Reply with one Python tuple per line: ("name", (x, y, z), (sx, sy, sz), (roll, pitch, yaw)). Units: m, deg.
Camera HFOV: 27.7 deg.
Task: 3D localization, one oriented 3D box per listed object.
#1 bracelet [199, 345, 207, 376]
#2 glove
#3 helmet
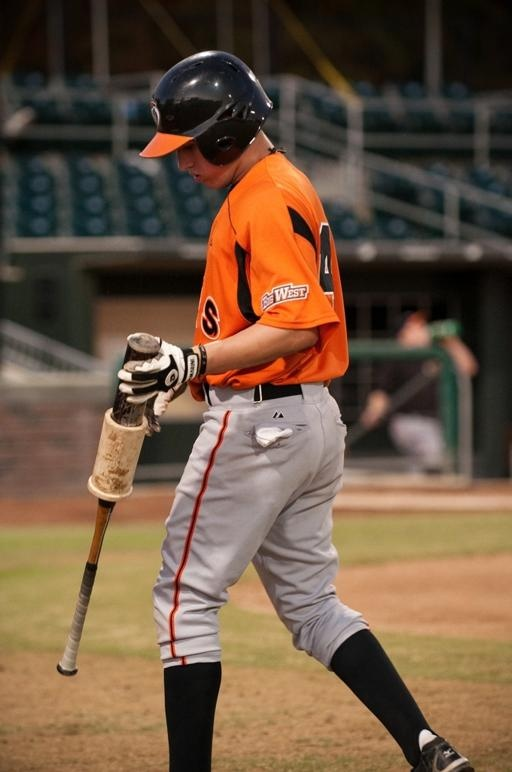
("bracelet", (-0.116, -0.056, 2.259), (0.020, 0.043, 0.042), (0, -5, 1))
("glove", (-0.216, -0.027, 2.282), (0.158, 0.172, 0.092), (-1, 20, -29))
("helmet", (-0.114, -0.664, 2.454), (0.343, 0.193, 0.215), (-28, 28, -11))
